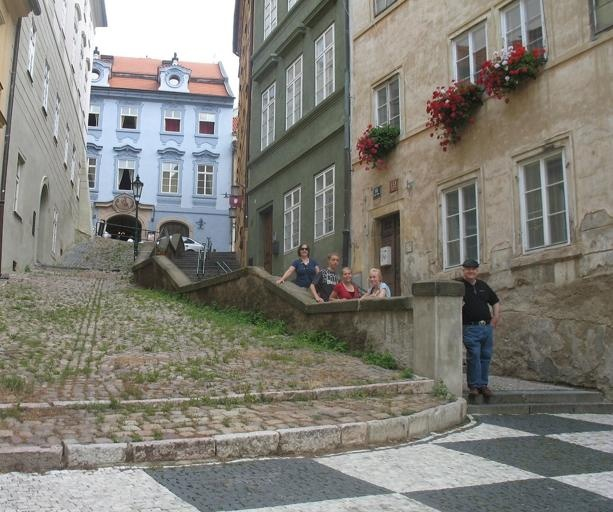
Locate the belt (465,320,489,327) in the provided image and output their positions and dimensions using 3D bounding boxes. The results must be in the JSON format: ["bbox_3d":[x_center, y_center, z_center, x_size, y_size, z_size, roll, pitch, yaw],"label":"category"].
[{"bbox_3d":[2.395,0.945,7.964,0.365,0.065,0.075,4,-1,-1],"label":"belt"}]

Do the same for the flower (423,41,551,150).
[{"bbox_3d":[3.453,-3.154,11.338,0.647,1.559,2.737,3,0,-31],"label":"flower"}]

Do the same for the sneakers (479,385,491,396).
[{"bbox_3d":[2.456,1.851,7.757,0.139,0.097,0.145,4,-1,-23],"label":"sneakers"}]

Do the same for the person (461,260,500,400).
[{"bbox_3d":[2.424,1.021,7.999,0.486,1.502,0.779,2,-1,20],"label":"person"}]

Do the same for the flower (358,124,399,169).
[{"bbox_3d":[1.780,-2.773,14.209,0.423,0.894,1.206,3,0,-38],"label":"flower"}]

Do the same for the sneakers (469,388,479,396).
[{"bbox_3d":[2.286,1.851,7.705,0.176,0.067,0.069,4,-1,-18],"label":"sneakers"}]

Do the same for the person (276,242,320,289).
[{"bbox_3d":[-0.195,0.228,14.694,0.968,1.407,0.420,0,2,-16],"label":"person"}]
